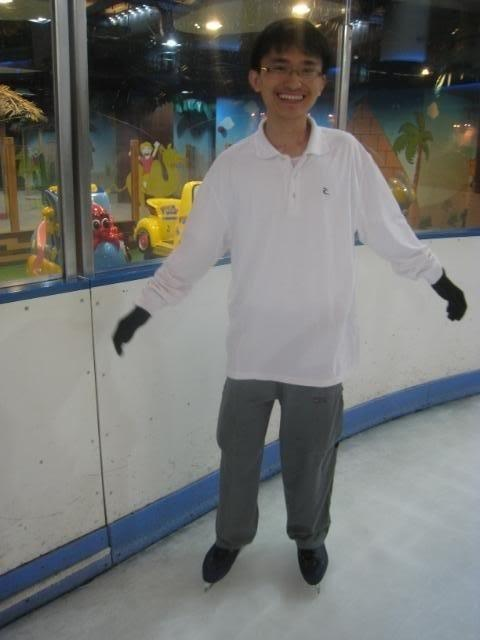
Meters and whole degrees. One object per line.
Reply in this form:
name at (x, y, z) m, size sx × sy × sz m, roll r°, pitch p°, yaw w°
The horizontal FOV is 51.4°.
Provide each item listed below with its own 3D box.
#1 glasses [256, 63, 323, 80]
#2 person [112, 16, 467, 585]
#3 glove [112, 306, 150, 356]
glasses at (0.119, -0.573, 1.158) m, size 0.140 × 0.038 × 0.044 m, roll 1°, pitch 10°, yaw 3°
person at (0.119, 0.030, 1.355) m, size 0.758 × 1.574 × 0.266 m, roll 0°, pitch 23°, yaw 1°
glove at (-0.285, 0.023, 1.306) m, size 0.072 × 0.141 × 0.037 m, roll 33°, pitch 23°, yaw 6°
